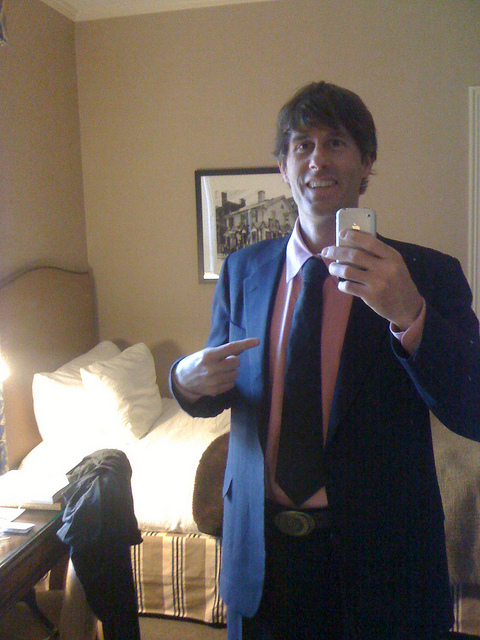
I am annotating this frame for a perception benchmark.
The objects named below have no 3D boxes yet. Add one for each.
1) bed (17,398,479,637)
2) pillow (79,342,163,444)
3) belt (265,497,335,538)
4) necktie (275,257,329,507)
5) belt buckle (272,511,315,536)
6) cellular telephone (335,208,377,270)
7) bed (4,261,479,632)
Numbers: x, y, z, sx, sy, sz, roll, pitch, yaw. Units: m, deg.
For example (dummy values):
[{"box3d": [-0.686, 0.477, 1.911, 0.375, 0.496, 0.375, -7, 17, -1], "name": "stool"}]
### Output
[{"box3d": [0.026, 0.551, 1.870, 1.019, 0.445, 0.785, -2, 27, 5], "name": "bed"}, {"box3d": [-0.454, 0.303, 2.349, 0.074, 0.312, 0.288, -19, 13, 20], "name": "pillow"}, {"box3d": [0.091, 0.296, 0.959, 0.077, 0.046, 0.056, 1, 1, -13], "name": "belt"}, {"box3d": [0.097, 0.094, 0.954, 0.074, 0.368, 0.078, 0, 7, 20], "name": "necktie"}, {"box3d": [0.083, 0.313, 0.938, 0.053, 0.040, 0.012, -2, 2, 33], "name": "belt buckle"}, {"box3d": [0.166, -0.116, 0.881, 0.056, 0.015, 0.131, 9, -31, 17], "name": "cellular telephone"}, {"box3d": [-0.287, 0.399, 2.155, 1.082, 1.052, 1.040, 0, 11, 0], "name": "bed"}]
